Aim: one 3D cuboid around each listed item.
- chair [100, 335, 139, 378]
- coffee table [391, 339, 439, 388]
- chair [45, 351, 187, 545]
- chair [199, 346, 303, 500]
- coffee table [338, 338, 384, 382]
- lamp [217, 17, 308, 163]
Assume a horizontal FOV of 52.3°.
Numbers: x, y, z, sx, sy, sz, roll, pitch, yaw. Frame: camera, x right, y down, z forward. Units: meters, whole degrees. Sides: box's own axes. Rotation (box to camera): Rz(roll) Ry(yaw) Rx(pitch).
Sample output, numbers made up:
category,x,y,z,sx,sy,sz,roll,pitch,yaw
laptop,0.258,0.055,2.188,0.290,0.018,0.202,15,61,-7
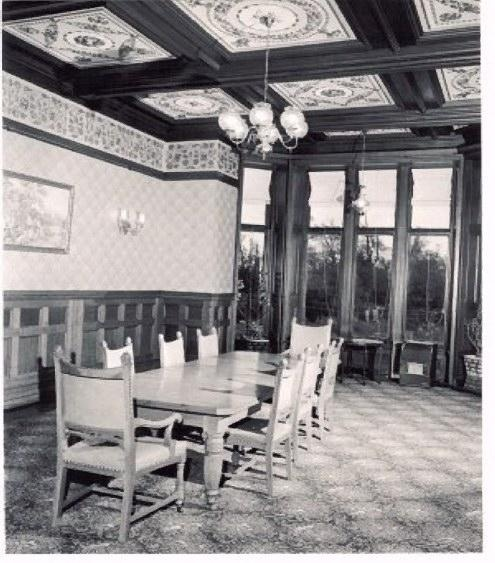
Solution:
category,x,y,z,sx,sy,sz,roll,pitch,yaw
chair,-0.836,0.428,3.387,0.147,0.290,0.209,11,35,-23
coffee table,2.394,1.095,7.320,0.507,0.828,0.552,4,6,33
chair,-0.638,0.768,2.582,0.487,0.998,0.578,1,4,12
chair,0.149,0.858,3.544,0.608,1.398,0.683,1,-2,26
coffee table,1.675,1.126,7.495,0.495,0.691,0.632,0,0,13
lamp,0.113,-1.813,4.662,0.853,1.701,0.852,2,-7,-8
